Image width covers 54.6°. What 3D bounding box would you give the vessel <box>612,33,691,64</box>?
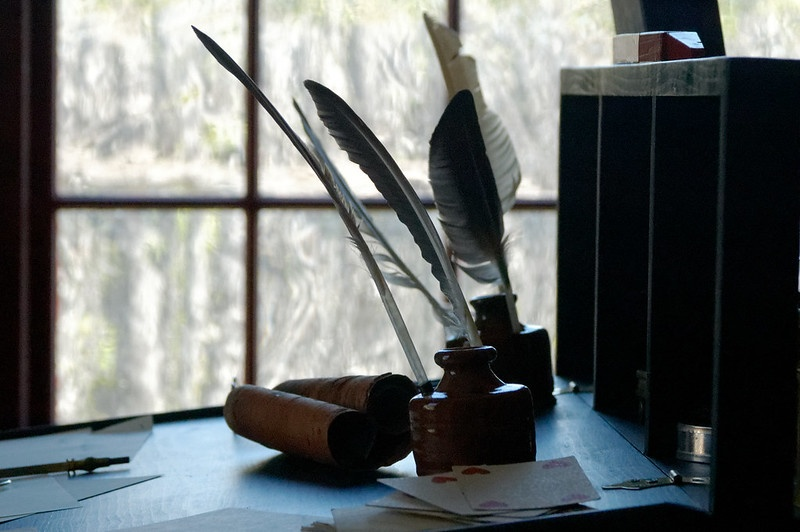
[{"bbox_3d":[0.449,-0.364,1.363,0.068,0.038,0.122,-6,7,-30],"label":"vessel"}]

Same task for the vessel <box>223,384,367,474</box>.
[{"bbox_3d":[-0.205,0.286,1.418,0.104,0.115,0.348,3,0,-41],"label":"vessel"}]

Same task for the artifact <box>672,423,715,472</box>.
[{"bbox_3d":[0.487,0.296,1.297,0.074,0.070,0.071,1,-2,-34],"label":"artifact"}]

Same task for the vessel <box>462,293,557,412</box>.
[{"bbox_3d":[0.209,0.186,1.655,0.263,0.250,0.272,-7,-3,5],"label":"vessel"}]

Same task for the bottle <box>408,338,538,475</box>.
[{"bbox_3d":[0.115,0.239,1.285,0.194,0.211,0.200,-5,0,-1],"label":"bottle"}]

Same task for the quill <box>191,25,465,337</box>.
[{"bbox_3d":[-0.194,-0.203,1.747,0.135,0.806,0.036,-26,-2,-44],"label":"quill"}]

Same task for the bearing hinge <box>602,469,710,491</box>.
[{"bbox_3d":[0.414,0.343,1.241,0.118,0.013,0.027,-5,4,-7],"label":"bearing hinge"}]

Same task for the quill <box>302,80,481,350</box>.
[{"bbox_3d":[-0.032,-0.124,1.643,0.131,0.757,0.038,-34,-5,21],"label":"quill"}]

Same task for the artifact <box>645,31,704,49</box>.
[{"bbox_3d":[0.480,-0.389,1.338,0.078,0.021,0.059,3,8,16],"label":"artifact"}]

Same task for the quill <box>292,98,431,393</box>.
[{"bbox_3d":[-0.100,-0.062,1.720,0.028,0.717,0.185,-35,8,-27],"label":"quill"}]
